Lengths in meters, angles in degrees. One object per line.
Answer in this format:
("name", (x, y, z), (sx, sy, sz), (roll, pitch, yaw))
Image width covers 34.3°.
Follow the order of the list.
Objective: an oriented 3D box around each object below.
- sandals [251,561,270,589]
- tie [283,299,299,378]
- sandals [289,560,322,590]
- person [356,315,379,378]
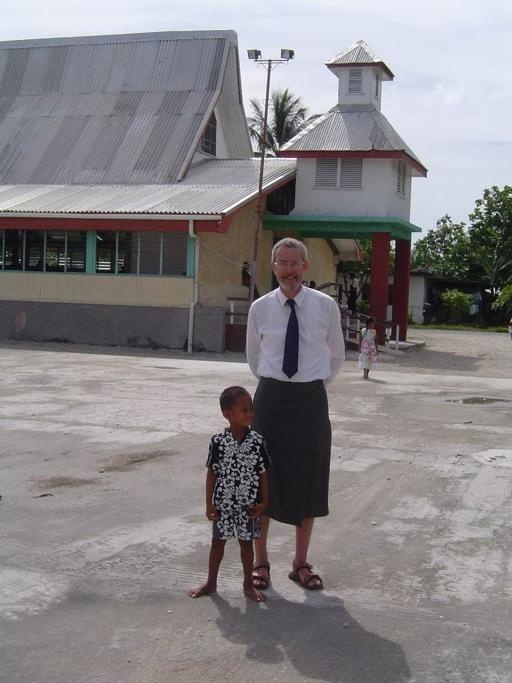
("sandals", (0.016, 1.186, 4.199), (0.105, 0.128, 0.319), (-1, -10, 2))
("tie", (0.177, -0.012, 4.254), (0.074, 0.294, 0.141), (3, 2, 2))
("sandals", (0.244, 1.203, 4.236), (0.079, 0.074, 0.165), (-2, -5, -26))
("person", (2.102, 0.130, 15.725), (0.272, 0.896, 1.218), (3, 2, 6))
